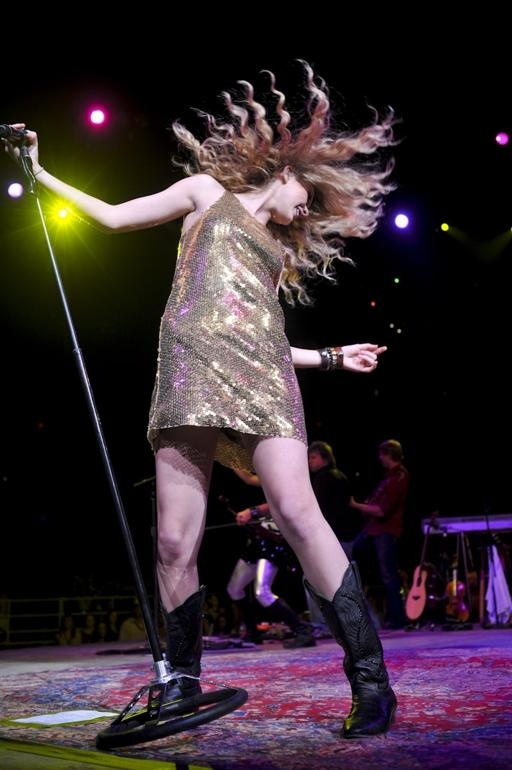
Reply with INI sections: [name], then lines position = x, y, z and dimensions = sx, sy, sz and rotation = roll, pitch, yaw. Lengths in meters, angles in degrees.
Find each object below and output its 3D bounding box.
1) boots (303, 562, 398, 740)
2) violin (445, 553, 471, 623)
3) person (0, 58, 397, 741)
[boots]
position = 0.225, 0.626, 1.624
dimensions = 0.171, 0.371, 0.313
rotation = -9, 1, 2
[violin]
position = 1.940, 2.022, 6.793
dimensions = 0.238, 0.523, 0.451
rotation = -8, 1, 14
[person]
position = -0.004, -0.058, 1.988
dimensions = 0.726, 1.831, 1.145
rotation = -8, 1, 24
